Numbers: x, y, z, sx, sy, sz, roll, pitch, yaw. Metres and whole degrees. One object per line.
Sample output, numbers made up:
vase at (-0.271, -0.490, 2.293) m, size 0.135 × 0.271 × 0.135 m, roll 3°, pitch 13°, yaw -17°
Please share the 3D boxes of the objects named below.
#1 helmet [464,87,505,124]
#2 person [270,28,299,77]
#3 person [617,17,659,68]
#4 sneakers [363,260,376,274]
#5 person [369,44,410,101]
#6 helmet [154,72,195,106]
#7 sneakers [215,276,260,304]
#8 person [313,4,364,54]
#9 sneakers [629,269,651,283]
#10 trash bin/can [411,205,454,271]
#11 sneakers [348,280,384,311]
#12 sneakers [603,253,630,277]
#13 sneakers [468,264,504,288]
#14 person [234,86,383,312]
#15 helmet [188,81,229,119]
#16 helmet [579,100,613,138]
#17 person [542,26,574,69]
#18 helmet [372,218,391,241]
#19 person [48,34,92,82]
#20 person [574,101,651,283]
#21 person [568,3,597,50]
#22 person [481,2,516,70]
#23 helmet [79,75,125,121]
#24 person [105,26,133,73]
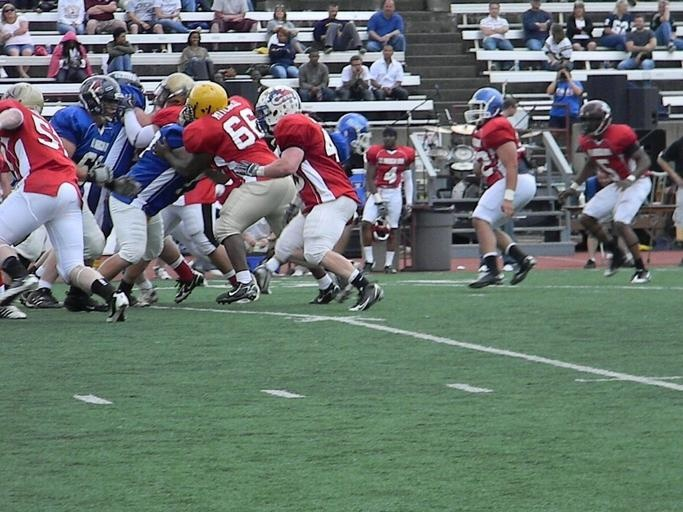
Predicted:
helmet at (1.385, -1.408, 8.569) m, size 0.458 × 0.248 × 0.257 m, roll -4°, pitch 6°, yaw 0°
person at (-1.086, -3.729, 16.928) m, size 0.521 × 0.990 × 0.840 m, roll -1°, pitch 5°, yaw -3°
person at (5.917, -4.230, 18.277) m, size 0.687 × 1.103 × 0.790 m, roll 1°, pitch 5°, yaw 17°
sneakers at (0.358, 0.147, 11.923) m, size 0.269 × 0.197 × 0.586 m, roll -1°, pitch -2°, yaw 4°
person at (0.862, -3.360, 16.873) m, size 0.671 × 1.004 × 0.710 m, roll -1°, pitch 5°, yaw 1°
helmet at (-1.322, -1.337, 7.477) m, size 0.385 × 0.247 × 0.256 m, roll 11°, pitch 17°, yaw 3°
sneakers at (-0.774, 0.277, 7.195) m, size 0.483 × 0.170 × 0.134 m, roll -9°, pitch 29°, yaw -12°
person at (-0.081, -4.394, 17.810) m, size 0.936 × 0.941 × 0.565 m, roll -1°, pitch 5°, yaw -2°
sneakers at (2.930, 0.202, 8.966) m, size 0.159 × 0.121 × 0.170 m, roll 0°, pitch 5°, yaw 12°
trash bin/can at (1.209, -0.234, 12.195) m, size 0.554 × 0.865 × 0.403 m, roll -1°, pitch 5°, yaw 3°
sneakers at (0.186, 0.299, 6.605) m, size 0.350 × 0.102 × 0.160 m, roll -27°, pitch -55°, yaw 35°
sneakers at (2.842, 0.094, 9.271) m, size 0.220 × 0.191 × 0.608 m, roll -8°, pitch -2°, yaw 34°
sneakers at (1.328, 0.191, 8.283) m, size 0.287 × 0.200 × 0.292 m, roll 2°, pitch 5°, yaw 29°
person at (-0.232, -0.426, 6.726) m, size 0.977 × 1.671 × 0.784 m, roll -1°, pitch 5°, yaw -6°
helmet at (-0.979, -1.139, 6.687) m, size 0.304 × 0.281 × 0.204 m, roll -1°, pitch 5°, yaw -6°
helmet at (2.505, -1.357, 9.036) m, size 0.290 × 0.361 × 0.321 m, roll 0°, pitch 5°, yaw 11°
person at (4.227, -4.035, 17.814) m, size 0.525 × 0.817 × 0.741 m, roll 0°, pitch 5°, yaw 7°
helmet at (0.499, -0.334, 11.942) m, size 0.328 × 0.253 × 0.290 m, roll -1°, pitch -35°, yaw -10°
person at (-4.744, -3.389, 16.141) m, size 0.906 × 0.889 × 0.673 m, roll -9°, pitch 24°, yaw -29°
person at (2.734, -0.664, 9.179) m, size 0.805 × 1.822 × 0.670 m, roll 2°, pitch 6°, yaw 27°
person at (4.820, -4.598, 18.392) m, size 0.563 × 0.962 × 0.645 m, roll 0°, pitch 5°, yaw 10°
person at (3.165, -4.659, 18.660) m, size 0.653 × 1.044 × 0.737 m, roll 0°, pitch 5°, yaw 6°
helmet at (-1.758, -1.144, 6.640) m, size 0.379 × 0.233 × 0.252 m, roll 7°, pitch 11°, yaw 8°
person at (-3.891, -3.583, 15.980) m, size 0.466 × 0.774 × 0.587 m, roll -2°, pitch 5°, yaw -12°
